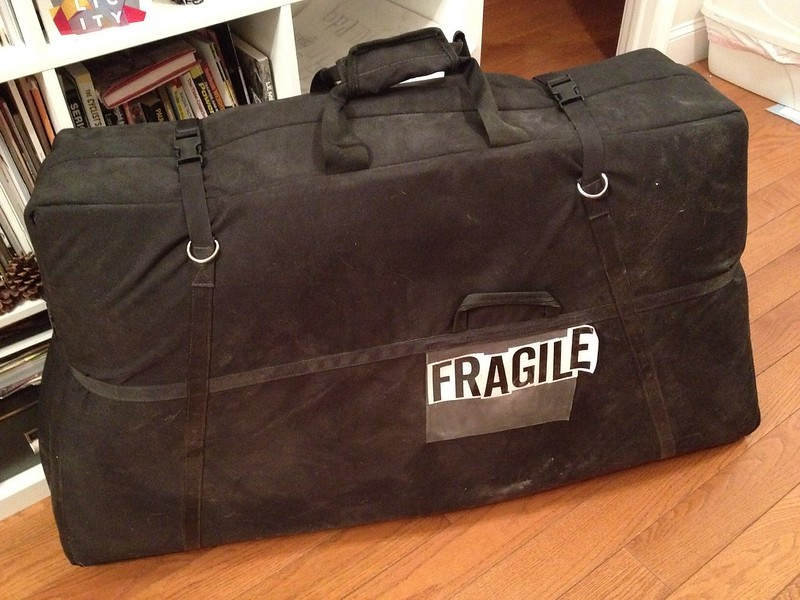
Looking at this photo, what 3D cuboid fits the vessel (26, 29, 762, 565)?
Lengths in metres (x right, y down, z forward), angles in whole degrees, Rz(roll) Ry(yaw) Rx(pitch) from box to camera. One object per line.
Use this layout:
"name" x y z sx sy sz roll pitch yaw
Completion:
"vessel" -0.010 -0.037 1.424 1.247 0.849 0.481 -9 35 -9
